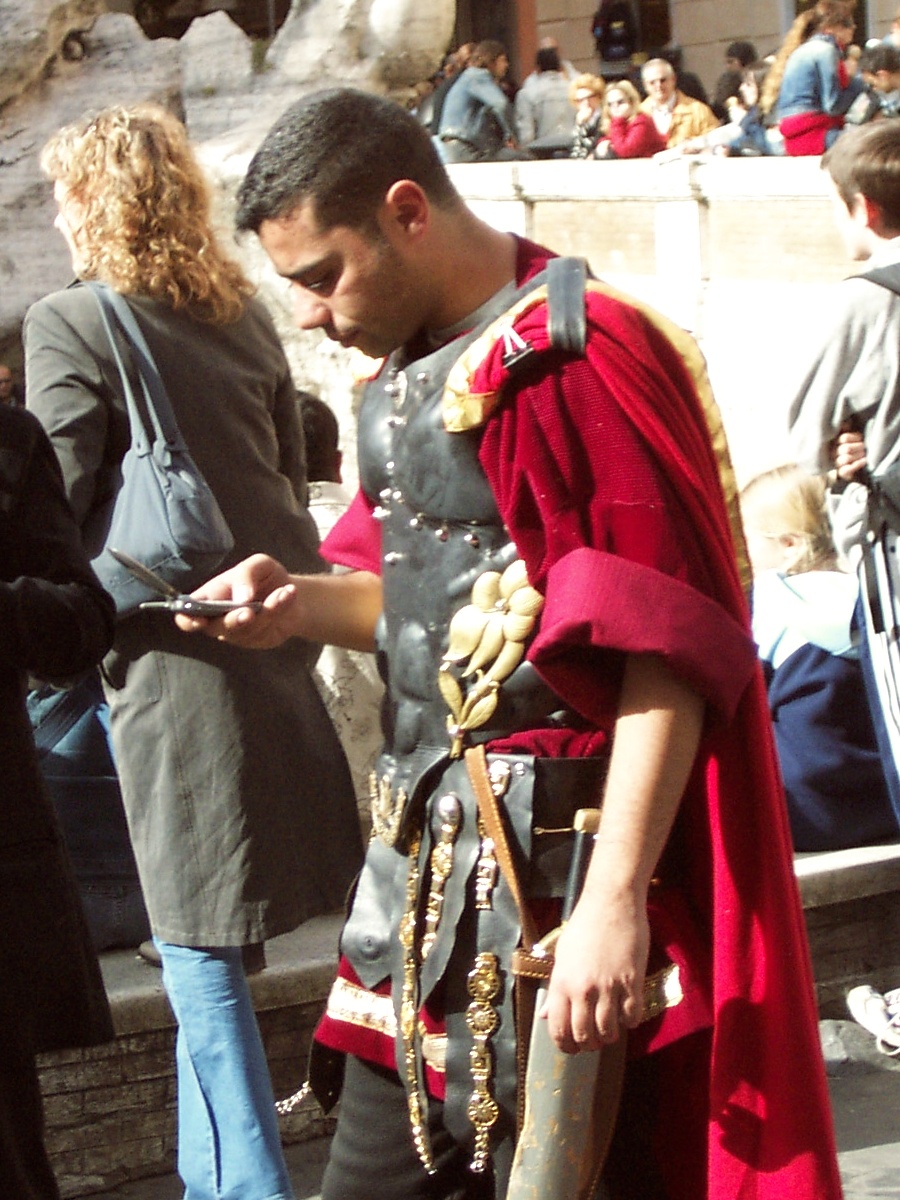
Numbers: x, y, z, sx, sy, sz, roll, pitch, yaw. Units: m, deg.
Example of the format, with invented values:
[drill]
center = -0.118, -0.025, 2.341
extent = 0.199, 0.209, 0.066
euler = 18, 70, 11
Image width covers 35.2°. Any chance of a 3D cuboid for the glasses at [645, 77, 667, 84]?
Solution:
[glasses]
center = 1.512, -3.847, 10.468
extent = 0.083, 0.031, 0.094
euler = 0, -4, 1
